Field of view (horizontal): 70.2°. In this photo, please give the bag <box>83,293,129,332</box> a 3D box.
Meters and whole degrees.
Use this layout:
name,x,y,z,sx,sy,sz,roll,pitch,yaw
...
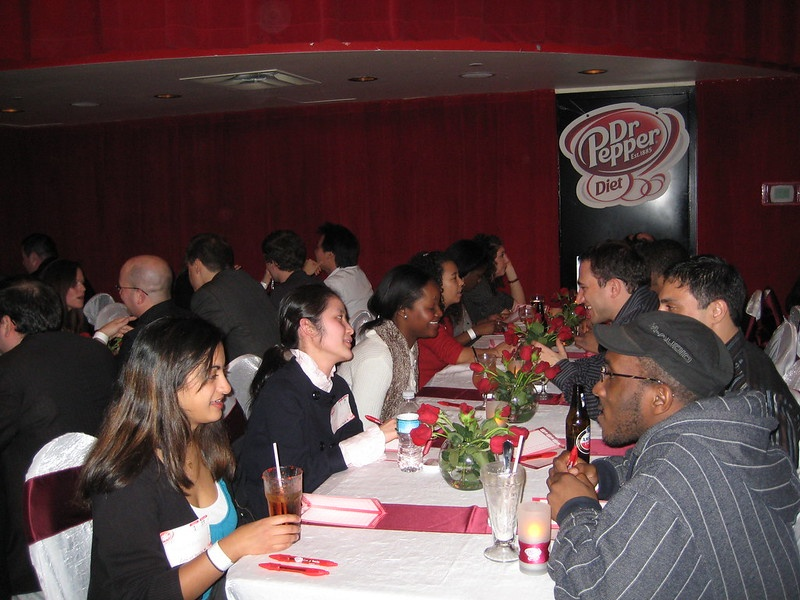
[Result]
name,x,y,z,sx,sy,sz,roll,pitch,yaw
bag,-2.531,0.099,4.865,0.529,0.161,0.406,5,55,50

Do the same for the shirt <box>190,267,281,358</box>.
name,x,y,z,sx,sy,sz,roll,pitch,yaw
shirt,-0.963,0.073,3.318,0.371,0.602,0.366,-21,-7,-45

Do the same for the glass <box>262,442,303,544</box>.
name,x,y,z,sx,sy,sz,roll,pitch,yaw
glass,-0.338,0.525,1.580,0.117,0.233,0.113,1,-19,-11

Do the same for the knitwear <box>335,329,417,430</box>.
name,x,y,z,sx,sy,sz,roll,pitch,yaw
knitwear,-0.113,0.357,2.473,0.169,0.319,0.320,2,29,16

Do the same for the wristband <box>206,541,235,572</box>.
name,x,y,z,sx,sy,sz,roll,pitch,yaw
wristband,-0.456,0.658,1.438,0.064,0.042,0.065,35,-5,7

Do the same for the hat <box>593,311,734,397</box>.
name,x,y,z,sx,sy,sz,roll,pitch,yaw
hat,0.718,0.130,1.571,0.309,0.130,0.210,27,14,22

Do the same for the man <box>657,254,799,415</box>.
name,x,y,z,sx,sy,sz,roll,pitch,yaw
man,1.257,0.063,2.405,0.517,0.656,0.773,3,5,21

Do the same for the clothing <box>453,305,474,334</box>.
name,x,y,z,sx,sy,sz,roll,pitch,yaw
clothing,0.508,0.168,4.575,0.170,0.227,0.124,-4,-33,3

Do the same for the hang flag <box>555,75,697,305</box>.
name,x,y,z,sx,sy,sz,roll,pitch,yaw
hang flag,2.457,-1.160,6.345,1.400,2.703,0.091,0,-18,19

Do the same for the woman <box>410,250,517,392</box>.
name,x,y,z,sx,sy,sz,roll,pitch,yaw
woman,0.395,0.141,3.658,0.615,1.197,0.414,-6,29,-4

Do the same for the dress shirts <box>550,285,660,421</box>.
name,x,y,z,sx,sy,sz,roll,pitch,yaw
dress shirts,1.089,0.280,2.919,0.497,0.203,0.672,-35,23,52

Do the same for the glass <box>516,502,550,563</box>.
name,x,y,z,sx,sy,sz,roll,pitch,yaw
glass,0.331,0.592,1.411,0.094,0.161,0.095,-3,-5,16

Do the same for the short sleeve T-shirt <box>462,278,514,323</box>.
name,x,y,z,sx,sy,sz,roll,pitch,yaw
short sleeve T-shirt,0.802,-0.033,5.248,0.445,0.483,0.380,-1,34,5

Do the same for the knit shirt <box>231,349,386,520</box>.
name,x,y,z,sx,sy,sz,roll,pitch,yaw
knit shirt,-0.325,0.444,2.368,0.609,0.868,0.532,1,3,16

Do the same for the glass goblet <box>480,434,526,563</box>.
name,x,y,z,sx,sy,sz,roll,pitch,yaw
glass goblet,0.269,0.513,1.477,0.115,0.312,0.117,-2,-2,30

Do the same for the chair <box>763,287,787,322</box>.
name,x,y,z,sx,sy,sz,roll,pitch,yaw
chair,3.032,0.038,4.599,0.083,0.317,0.105,-21,13,34

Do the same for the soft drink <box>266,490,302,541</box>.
name,x,y,z,sx,sy,sz,roll,pitch,yaw
soft drink,-0.320,0.584,1.567,0.107,0.132,0.111,-1,-7,-3
